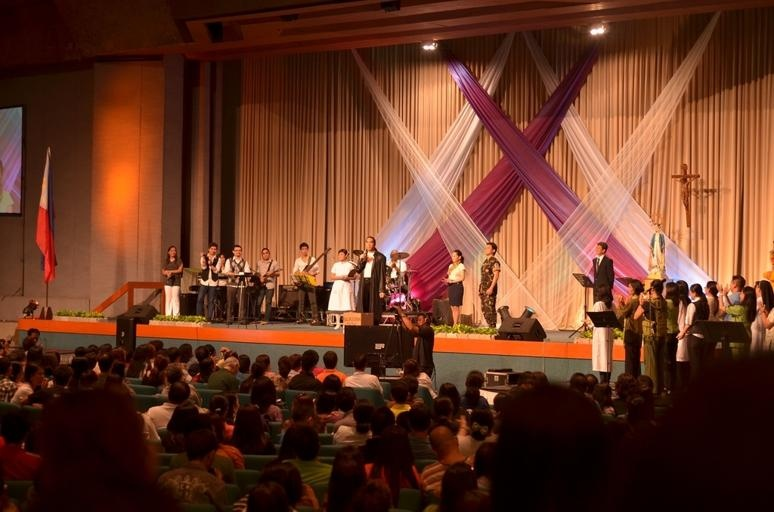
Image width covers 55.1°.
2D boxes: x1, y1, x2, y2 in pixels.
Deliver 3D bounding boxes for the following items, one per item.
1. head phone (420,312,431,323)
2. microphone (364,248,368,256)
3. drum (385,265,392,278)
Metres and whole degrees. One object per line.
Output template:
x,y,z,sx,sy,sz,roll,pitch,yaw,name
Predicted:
0.487,0.819,9.637,0.152,0.151,0.129,-5,10,-41,head phone
-0.361,-0.053,13.037,0.066,0.093,0.033,12,-9,-10,microphone
0.025,0.305,13.462,0.152,0.175,0.171,0,6,-19,drum
